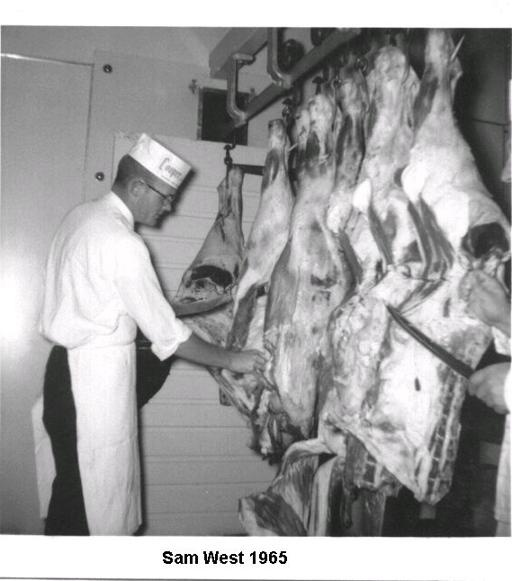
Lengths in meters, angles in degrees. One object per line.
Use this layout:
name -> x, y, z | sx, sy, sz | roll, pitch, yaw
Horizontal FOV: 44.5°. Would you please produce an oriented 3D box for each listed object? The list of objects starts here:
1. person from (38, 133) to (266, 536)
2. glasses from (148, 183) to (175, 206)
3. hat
person -> -0.354, 0.162, 1.971 | 0.543, 1.232, 0.528 | -6, 26, -21
glasses -> -0.281, -0.289, 1.853 | 0.055, 0.015, 0.052 | 51, 4, 0
hat -> -0.282, -0.370, 1.887 | 0.173, 0.112, 0.161 | 39, 15, -2
